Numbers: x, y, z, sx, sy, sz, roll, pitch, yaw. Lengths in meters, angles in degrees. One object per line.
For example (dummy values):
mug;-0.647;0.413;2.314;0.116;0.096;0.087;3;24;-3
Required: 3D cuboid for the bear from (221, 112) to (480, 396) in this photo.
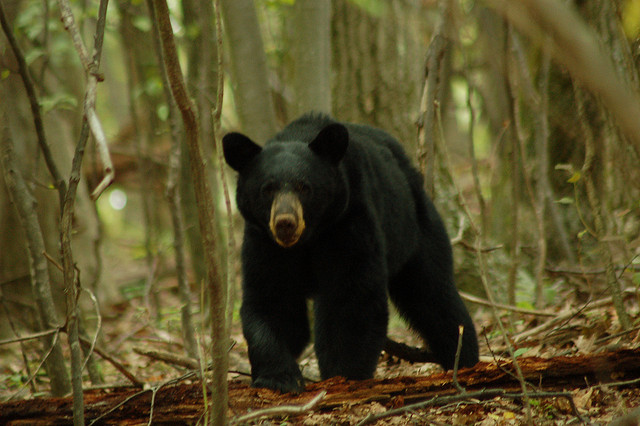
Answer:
bear;0.172;0.437;9.981;1.544;2.758;3.244;-3;-5;33
